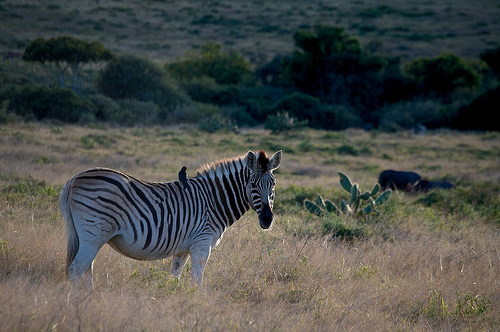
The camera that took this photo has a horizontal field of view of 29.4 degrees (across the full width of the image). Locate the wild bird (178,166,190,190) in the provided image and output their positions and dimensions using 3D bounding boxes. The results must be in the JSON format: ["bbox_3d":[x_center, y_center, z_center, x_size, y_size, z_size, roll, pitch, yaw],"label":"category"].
[{"bbox_3d":[-3.743,0.565,54.131,0.353,1.491,0.544,-2,11,2],"label":"wild bird"}]
